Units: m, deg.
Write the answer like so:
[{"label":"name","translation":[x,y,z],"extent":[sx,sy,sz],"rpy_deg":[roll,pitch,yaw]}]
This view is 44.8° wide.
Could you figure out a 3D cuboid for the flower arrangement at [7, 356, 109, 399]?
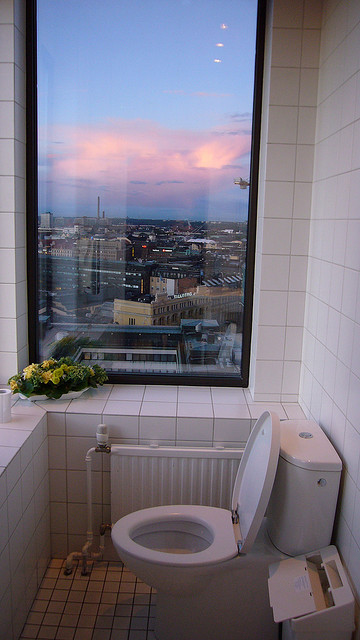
[{"label":"flower arrangement","translation":[-0.499,0.235,1.813],"extent":[0.393,0.142,0.153],"rpy_deg":[-1,5,-37]}]

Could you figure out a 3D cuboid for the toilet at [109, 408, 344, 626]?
[{"label":"toilet","translation":[0.116,0.662,1.364],"extent":[0.578,0.816,0.357],"rpy_deg":[6,3,-7]}]
